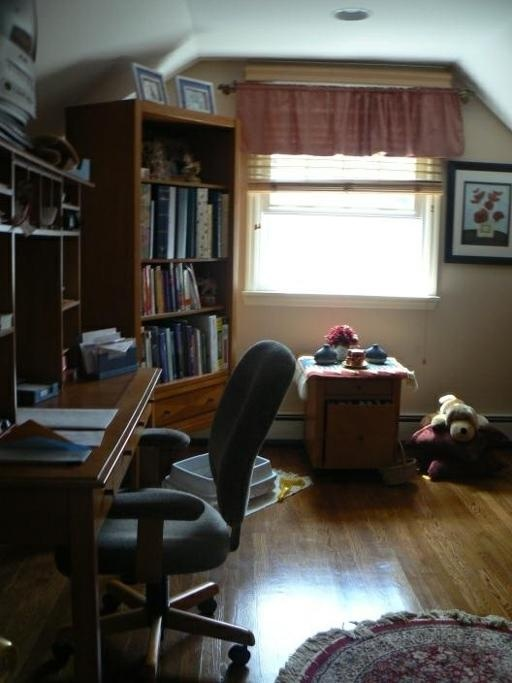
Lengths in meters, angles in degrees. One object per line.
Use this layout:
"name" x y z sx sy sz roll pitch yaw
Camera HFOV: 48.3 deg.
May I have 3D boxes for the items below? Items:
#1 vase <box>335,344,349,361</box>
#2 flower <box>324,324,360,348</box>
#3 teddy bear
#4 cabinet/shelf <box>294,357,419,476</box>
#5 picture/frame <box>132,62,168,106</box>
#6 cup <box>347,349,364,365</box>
"vase" 0.475 0.059 3.221 0.081 0.091 0.087 10 10 39
"flower" 0.481 -0.030 3.185 0.132 0.090 0.138 2 0 27
"teddy bear" 1.100 0.521 3.164 0.459 0.369 0.416 0 7 -12
"cabinet/shelf" 0.535 0.328 3.188 0.660 0.585 0.602 0 6 1
"picture/frame" -0.466 -1.114 2.500 0.127 0.192 0.265 1 7 1
"cup" 0.523 0.085 3.013 0.088 0.071 0.070 1 8 5
